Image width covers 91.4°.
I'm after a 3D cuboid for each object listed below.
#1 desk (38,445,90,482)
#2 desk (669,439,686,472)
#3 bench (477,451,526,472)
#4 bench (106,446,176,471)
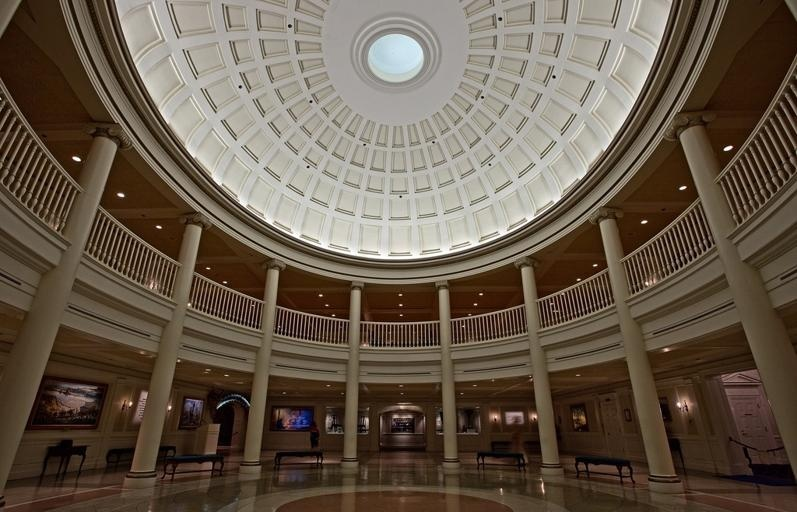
[{"bbox_3d":[-11.670,6.752,13.375,1.205,1.237,1.547,4,-10,-30],"label":"desk"},{"bbox_3d":[10.858,7.599,15.066,0.402,1.079,0.503,-13,-35,17],"label":"desk"},{"bbox_3d":[4.241,8.483,15.986,2.191,0.642,1.398,-4,-28,12],"label":"bench"},{"bbox_3d":[-10.641,8.240,16.019,2.274,0.768,3.190,11,-30,-21],"label":"bench"}]
